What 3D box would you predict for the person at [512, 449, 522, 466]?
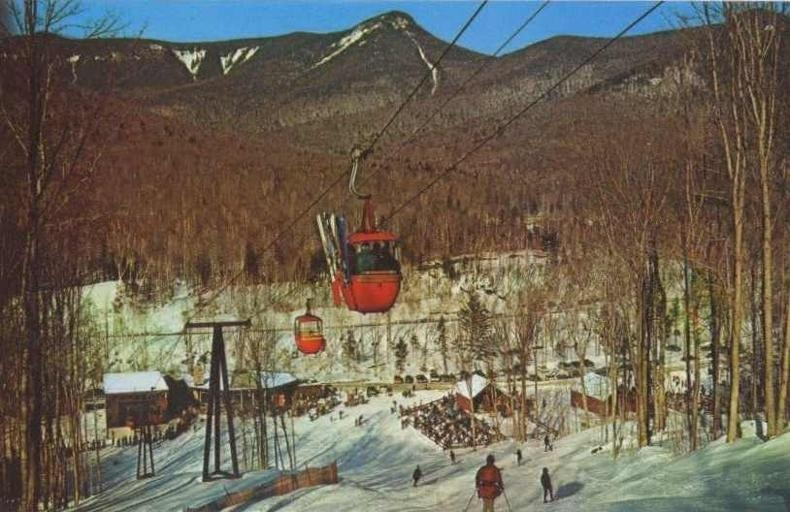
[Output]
[{"bbox_3d":[10.984,17.666,110.472,0.619,1.394,2.197,-6,-7,3],"label":"person"}]
